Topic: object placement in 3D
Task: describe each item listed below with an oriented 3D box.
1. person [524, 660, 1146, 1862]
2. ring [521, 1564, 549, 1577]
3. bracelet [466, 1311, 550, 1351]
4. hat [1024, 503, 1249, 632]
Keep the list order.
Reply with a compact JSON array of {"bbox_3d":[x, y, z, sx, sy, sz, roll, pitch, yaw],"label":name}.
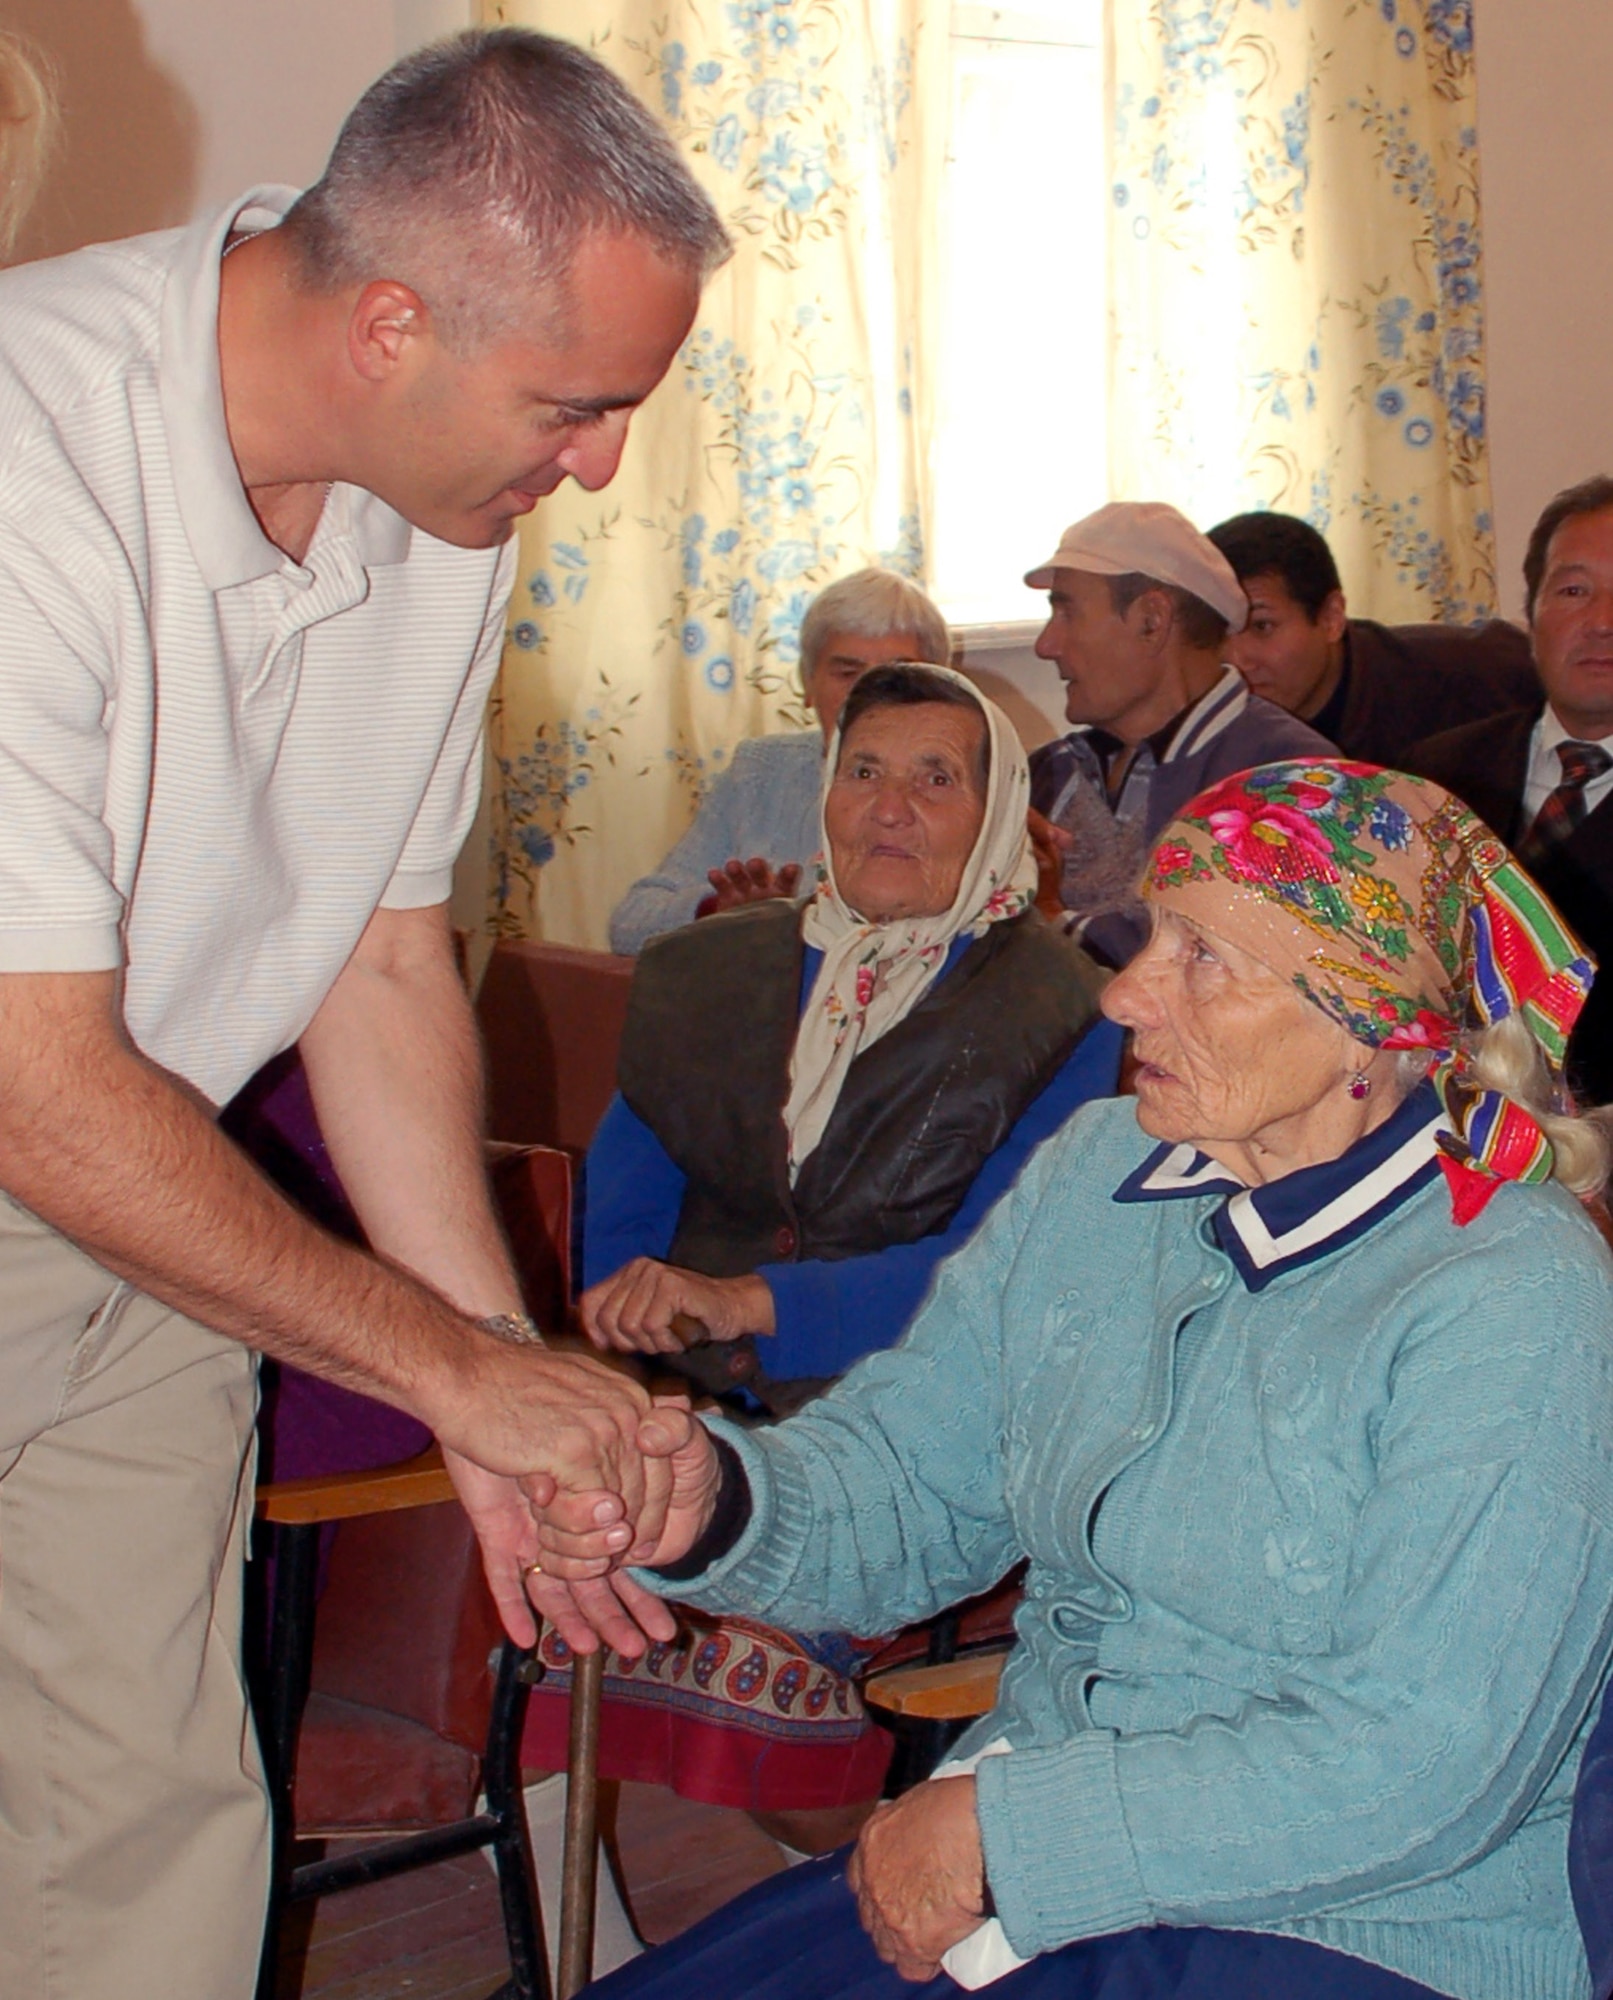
[{"bbox_3d":[0.043,0.407,2.374,0.949,1.495,0.693,-3,15,9],"label":"person"},{"bbox_3d":[-0.209,0.436,1.474,0.020,0.004,0.020,-5,-2,0],"label":"ring"},{"bbox_3d":[-0.233,0.252,1.476,0.047,0.013,0.036,14,-2,-4],"label":"bracelet"},{"bbox_3d":[0.609,-0.831,3.603,0.429,0.159,0.259,7,7,2],"label":"hat"}]
